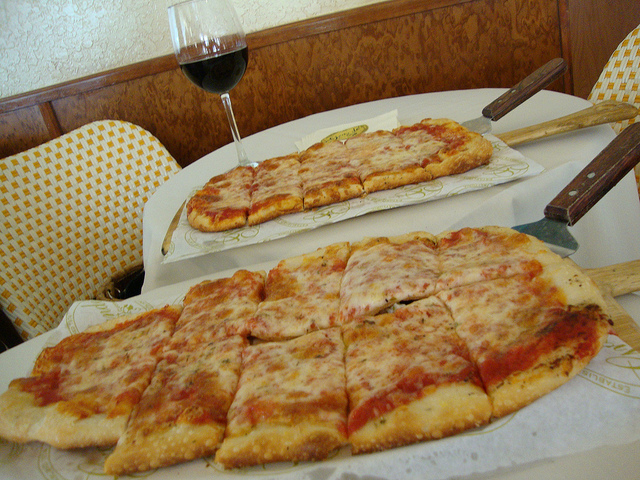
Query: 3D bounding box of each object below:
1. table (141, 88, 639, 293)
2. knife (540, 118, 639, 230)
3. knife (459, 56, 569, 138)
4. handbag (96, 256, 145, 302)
[{"bbox_3d":[0.188,-0.102,1.364,0.990,0.274,1.000,-10,29,12],"label":"table"},{"bbox_3d":[0.652,-0.150,1.182,0.113,0.072,0.412,32,67,34],"label":"knife"},{"bbox_3d":[0.613,-0.402,1.567,0.557,0.049,0.159,-38,51,-23],"label":"knife"},{"bbox_3d":[-0.663,0.135,1.692,0.156,0.068,0.173,-23,20,-8],"label":"handbag"}]
